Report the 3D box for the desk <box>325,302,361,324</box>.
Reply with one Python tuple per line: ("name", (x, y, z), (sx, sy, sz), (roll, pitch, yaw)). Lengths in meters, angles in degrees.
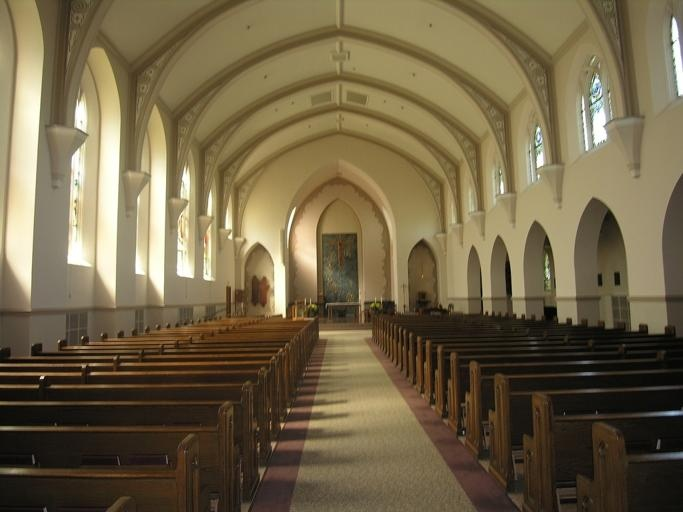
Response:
("desk", (0.106, 2.366, 24.179), (1.546, 0.841, 2.208), (-2, 2, -3))
